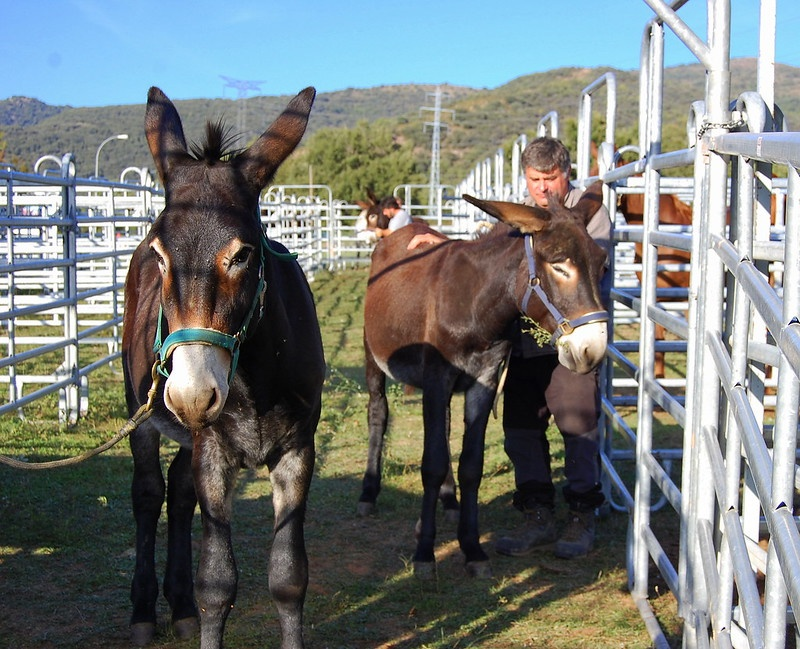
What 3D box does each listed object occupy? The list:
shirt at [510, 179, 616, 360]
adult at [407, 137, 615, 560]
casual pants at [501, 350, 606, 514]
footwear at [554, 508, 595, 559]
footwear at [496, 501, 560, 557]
[{"bbox_3d":[0.989,-0.397,6.520,0.404,1.564,0.914,2,-3,-27],"label":"shirt"},{"bbox_3d":[0.127,0.318,7.053,2.492,2.191,0.667,-14,-5,26],"label":"adult"},{"bbox_3d":[0.961,0.755,6.845,0.525,0.395,1.302,3,43,-4],"label":"casual pants"},{"bbox_3d":[1.168,1.356,6.646,0.185,0.285,0.586,-2,3,24],"label":"footwear"},{"bbox_3d":[0.848,1.356,6.671,0.496,0.293,0.177,-3,-1,-31],"label":"footwear"}]
